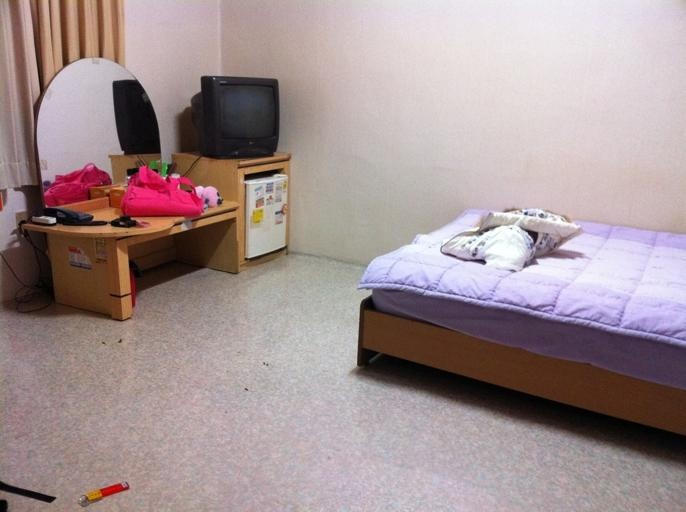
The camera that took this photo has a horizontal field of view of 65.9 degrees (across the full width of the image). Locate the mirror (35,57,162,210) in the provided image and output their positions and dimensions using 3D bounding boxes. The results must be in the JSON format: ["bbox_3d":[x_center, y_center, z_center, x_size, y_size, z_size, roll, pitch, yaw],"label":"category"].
[{"bbox_3d":[-1.832,-0.872,3.860,0.023,1.181,1.012,12,21,28],"label":"mirror"}]

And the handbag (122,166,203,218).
[{"bbox_3d":[-1.328,-0.424,3.844,0.449,0.158,0.460,2,43,-25],"label":"handbag"}]

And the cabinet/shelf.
[{"bbox_3d":[-0.927,-0.555,5.115,0.973,1.388,1.174,12,20,27],"label":"cabinet/shelf"}]

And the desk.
[{"bbox_3d":[-1.563,-0.014,3.899,0.864,0.640,1.392,11,23,21],"label":"desk"}]

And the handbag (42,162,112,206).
[{"bbox_3d":[-1.945,-0.516,3.838,0.249,0.113,0.342,19,30,23],"label":"handbag"}]
